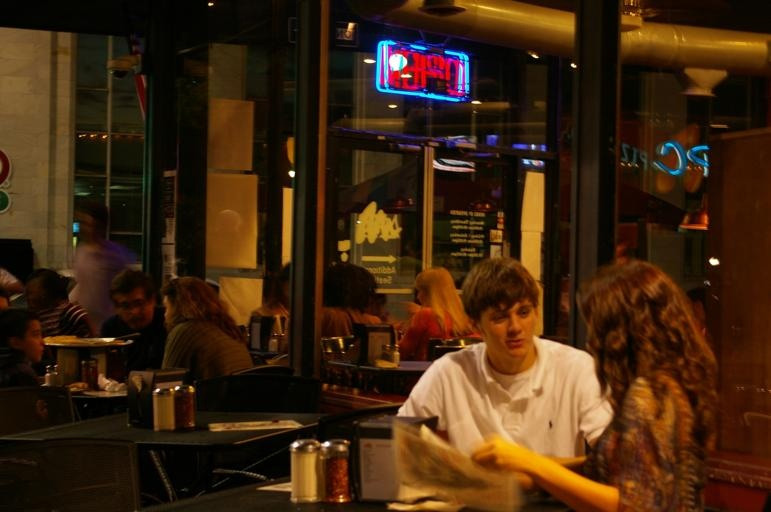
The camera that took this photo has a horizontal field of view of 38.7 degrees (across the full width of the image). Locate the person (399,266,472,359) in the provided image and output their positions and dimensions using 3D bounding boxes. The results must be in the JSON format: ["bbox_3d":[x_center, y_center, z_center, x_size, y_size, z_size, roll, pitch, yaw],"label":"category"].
[{"bbox_3d":[0.411,0.546,9.152,0.618,0.868,0.526,-7,7,-44],"label":"person"}]

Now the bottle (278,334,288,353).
[{"bbox_3d":[-0.896,0.755,9.598,0.135,0.147,0.136,2,-10,-16],"label":"bottle"}]

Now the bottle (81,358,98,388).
[{"bbox_3d":[-2.123,0.853,7.912,0.129,0.222,0.177,1,-1,-20],"label":"bottle"}]
